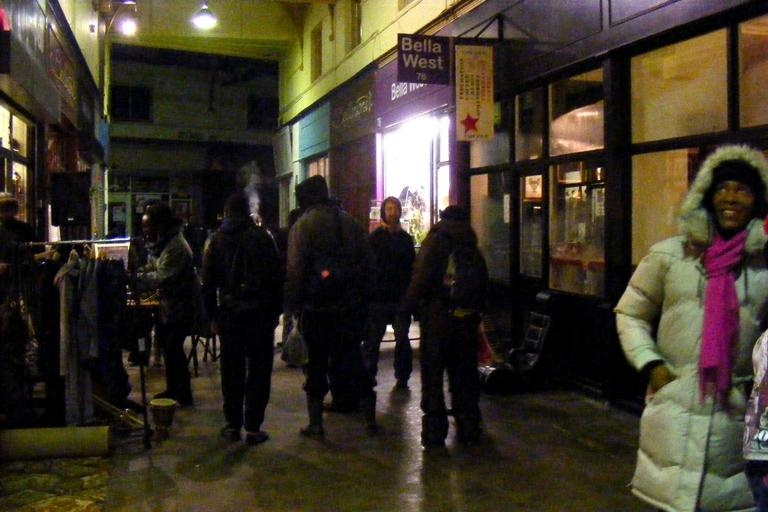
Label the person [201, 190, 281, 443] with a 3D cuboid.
[{"bbox_3d":[-1.360,0.601,6.330,0.786,2.366,0.528,-1,7,-4],"label":"person"}]

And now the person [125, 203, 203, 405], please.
[{"bbox_3d":[-2.308,0.561,7.136,0.621,2.260,0.665,-2,7,-17],"label":"person"}]

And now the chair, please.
[{"bbox_3d":[1.588,1.106,8.017,0.788,0.893,0.625,1,1,-1],"label":"chair"}]

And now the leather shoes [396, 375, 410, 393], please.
[{"bbox_3d":[0.236,1.560,8.017,0.182,0.177,0.165,2,5,14],"label":"leather shoes"}]

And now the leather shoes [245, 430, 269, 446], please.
[{"bbox_3d":[-1.218,1.744,6.333,0.091,0.116,0.277,7,7,37],"label":"leather shoes"}]
